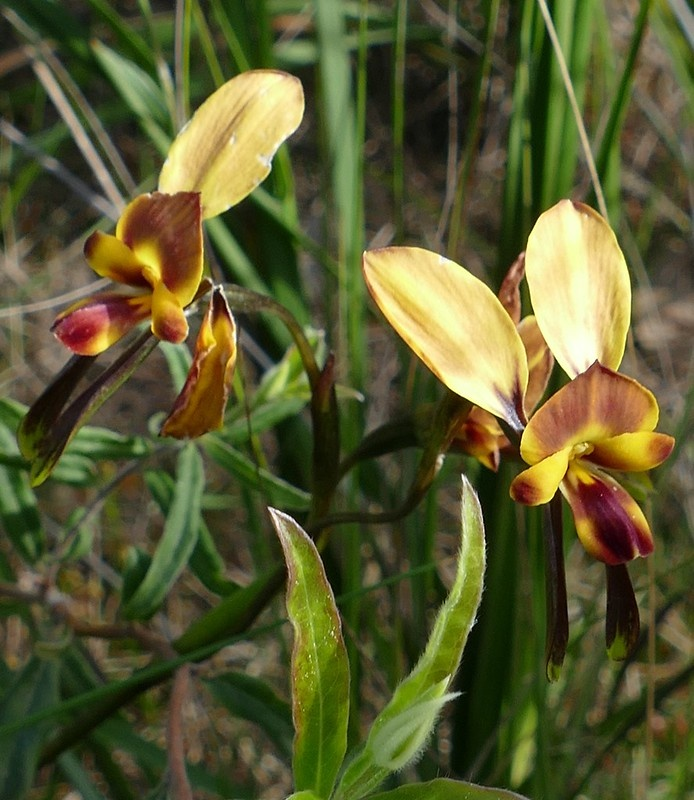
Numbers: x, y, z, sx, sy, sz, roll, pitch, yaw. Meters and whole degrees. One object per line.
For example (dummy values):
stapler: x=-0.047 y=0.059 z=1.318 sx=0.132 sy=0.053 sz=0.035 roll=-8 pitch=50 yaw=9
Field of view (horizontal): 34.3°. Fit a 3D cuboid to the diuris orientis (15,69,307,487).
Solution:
diuris orientis: x=-0.153 y=-0.099 z=0.896 sx=0.268 sy=0.176 sz=0.082 roll=-37 pitch=81 yaw=8
